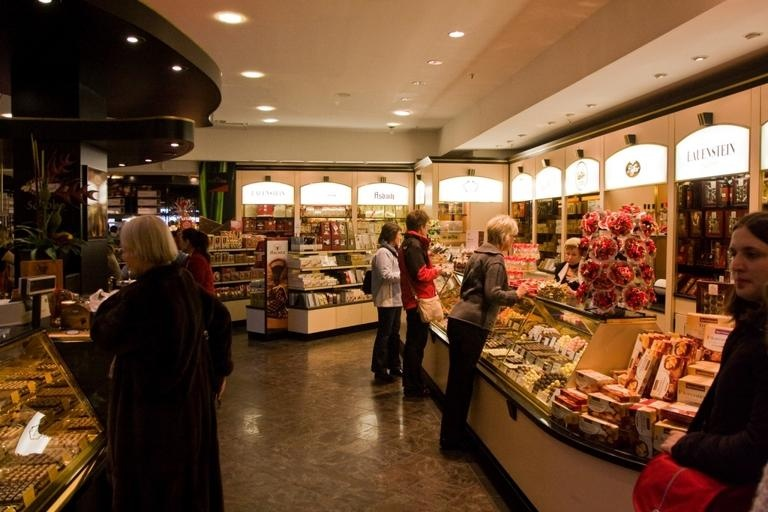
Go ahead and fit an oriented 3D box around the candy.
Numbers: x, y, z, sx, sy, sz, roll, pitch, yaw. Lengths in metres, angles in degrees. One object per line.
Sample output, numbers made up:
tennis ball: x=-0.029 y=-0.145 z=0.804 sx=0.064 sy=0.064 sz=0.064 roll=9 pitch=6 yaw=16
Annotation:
candy: x=1.309 y=0.801 z=4.351 sx=0.582 sy=0.642 sz=1.110 roll=0 pitch=4 yaw=-12
